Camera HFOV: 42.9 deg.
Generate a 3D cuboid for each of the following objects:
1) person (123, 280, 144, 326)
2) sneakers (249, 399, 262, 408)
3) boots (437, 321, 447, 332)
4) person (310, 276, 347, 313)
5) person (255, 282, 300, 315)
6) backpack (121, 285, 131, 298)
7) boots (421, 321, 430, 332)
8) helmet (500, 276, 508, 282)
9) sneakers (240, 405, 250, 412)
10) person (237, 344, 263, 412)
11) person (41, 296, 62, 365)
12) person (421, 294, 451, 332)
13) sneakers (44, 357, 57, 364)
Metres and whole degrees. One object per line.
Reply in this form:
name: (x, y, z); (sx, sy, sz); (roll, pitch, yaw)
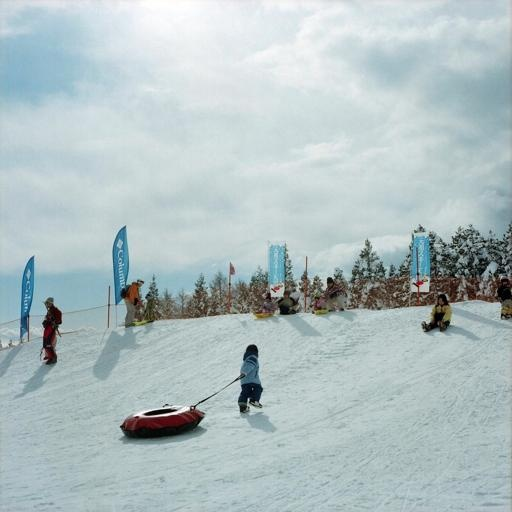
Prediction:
person: (-4.169, 1.587, 21.871); (0.646, 1.572, 1.157); (-6, 4, -30)
sneakers: (-0.015, 3.169, 13.907); (0.309, 0.148, 0.119); (3, 1, 5)
boots: (5.248, 2.011, 18.342); (0.093, 0.260, 0.196); (16, -27, -8)
person: (2.464, 1.330, 22.099); (1.073, 1.143, 1.491); (-4, 4, 7)
person: (0.816, 1.603, 22.570); (1.246, 0.691, 0.850); (-1, -4, 29)
backpack: (-4.389, 1.229, 21.689); (0.306, 0.404, 0.596); (-5, 4, -11)
boots: (4.790, 2.028, 18.420); (0.130, 0.401, 0.170); (-2, -17, -37)
helmet: (8.110, 0.751, 21.247); (0.167, 0.226, 0.231); (15, 6, 9)
sneakers: (-0.252, 3.240, 13.729); (0.204, 0.141, 0.149); (-4, 4, -3)
person: (-0.171, 2.626, 13.929); (0.613, 1.337, 0.578); (-6, 4, -27)
person: (-6.385, 2.311, 20.160); (0.634, 1.927, 1.325); (-5, 4, -19)
person: (5.171, 1.593, 18.564); (0.635, 1.009, 1.245); (-3, 2, 29)
sneakers: (-6.291, 3.195, 19.801); (0.342, 0.278, 0.160); (5, -1, -1)
